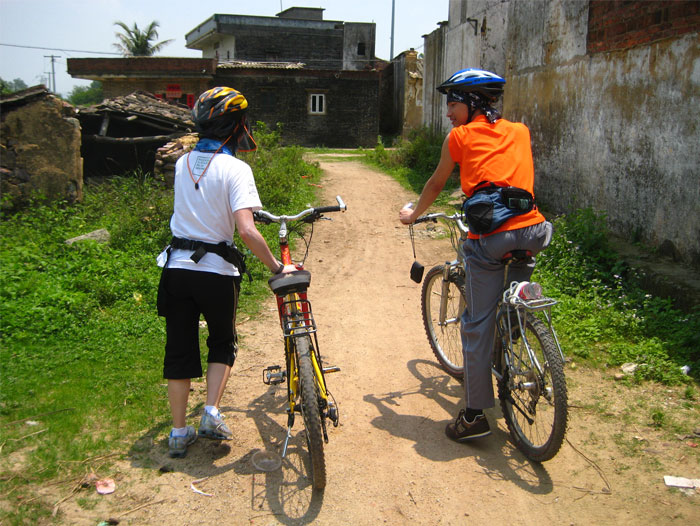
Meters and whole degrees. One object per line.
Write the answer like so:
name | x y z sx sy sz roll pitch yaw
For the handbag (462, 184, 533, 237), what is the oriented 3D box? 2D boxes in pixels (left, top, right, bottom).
handbag | 1.217 -0.467 5.350 0.360 0.359 0.499 -9 -16 -5

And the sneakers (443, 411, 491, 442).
sneakers | 1.033 1.440 5.695 0.179 0.236 0.490 -23 7 -42

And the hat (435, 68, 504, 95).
hat | 1.093 -1.595 5.638 0.397 0.183 0.319 6 14 9

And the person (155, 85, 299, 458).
person | -1.167 0.084 5.354 0.905 2.995 0.779 -4 14 -20

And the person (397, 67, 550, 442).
person | 1.183 -0.075 5.706 0.834 3.171 0.949 -5 15 -23

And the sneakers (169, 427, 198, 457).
sneakers | -1.435 1.487 5.429 0.120 0.157 0.323 -1 16 1

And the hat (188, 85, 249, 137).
hat | -1.116 -1.285 5.514 0.406 0.491 0.510 0 14 18
